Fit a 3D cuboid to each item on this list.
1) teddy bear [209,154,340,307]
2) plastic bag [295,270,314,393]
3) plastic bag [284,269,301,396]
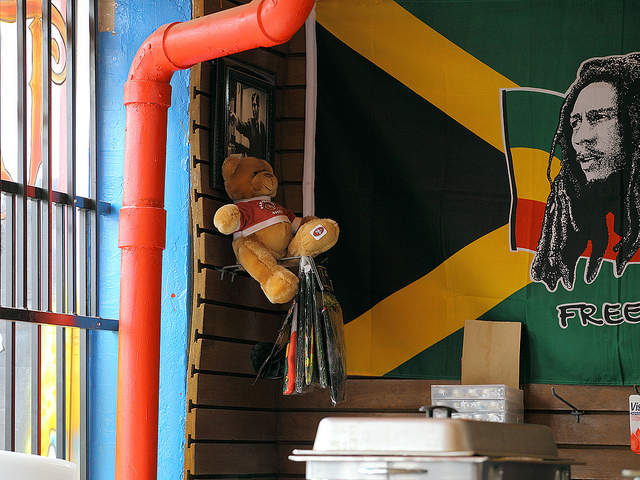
[{"bbox_3d":[-0.313,-0.129,8.059,0.558,0.847,0.806,0,11,45],"label":"teddy bear"},{"bbox_3d":[-0.111,0.609,7.815,0.077,0.532,0.199,2,2,6],"label":"plastic bag"},{"bbox_3d":[-0.133,0.648,7.814,0.080,0.546,0.158,2,4,7],"label":"plastic bag"}]
